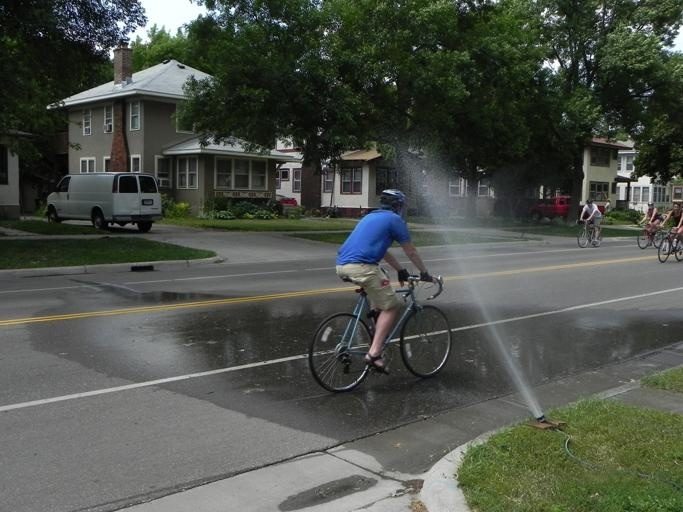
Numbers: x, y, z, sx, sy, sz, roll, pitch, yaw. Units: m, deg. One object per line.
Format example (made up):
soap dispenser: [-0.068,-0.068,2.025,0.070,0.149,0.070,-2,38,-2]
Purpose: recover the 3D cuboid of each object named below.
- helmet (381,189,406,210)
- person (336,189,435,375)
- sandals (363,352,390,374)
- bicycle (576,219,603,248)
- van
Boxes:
helmet: [0.614,-0.728,7.496,0.282,0.278,0.223,-11,33,-18]
person: [0.452,0.297,7.407,1.039,2.225,0.544,1,3,-12]
sandals: [0.387,1.285,7.372,0.347,0.151,0.182,6,2,-4]
bicycle: [11.170,-0.936,27.864,1.732,1.035,0.830,2,-2,-37]
van: [-10.683,-2.551,28.368,5.119,2.030,2.728,10,8,41]
